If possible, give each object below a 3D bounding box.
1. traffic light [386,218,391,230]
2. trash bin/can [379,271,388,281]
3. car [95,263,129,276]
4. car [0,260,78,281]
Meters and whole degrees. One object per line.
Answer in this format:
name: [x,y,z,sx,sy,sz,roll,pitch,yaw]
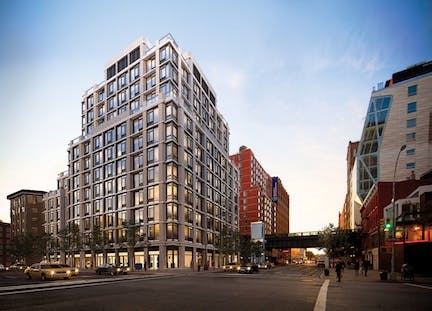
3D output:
traffic light: [24.723,9.797,64.673,0.900,1.511,1.213,-9,-21,19]
trash bin/can: [24.178,17.293,64.854,1.209,1.486,1.220,0,-11,5]
car: [-17.461,18.755,73.951,4.902,1.619,2.281,-9,-19,22]
car: [-24.340,16.762,65.519,6.426,2.517,2.211,-8,-21,14]
